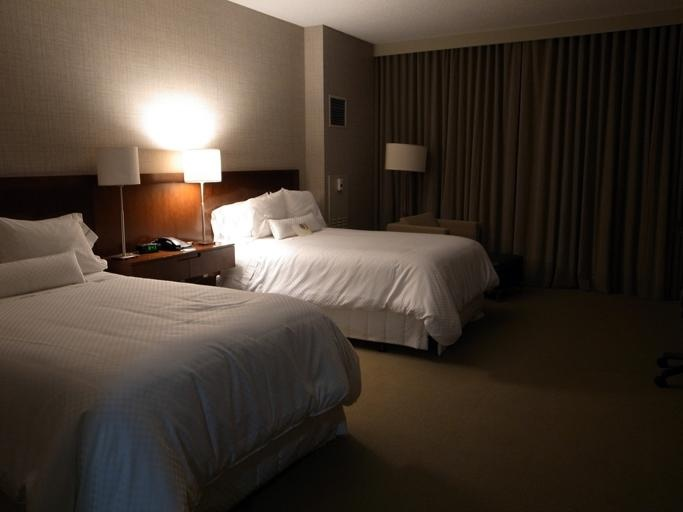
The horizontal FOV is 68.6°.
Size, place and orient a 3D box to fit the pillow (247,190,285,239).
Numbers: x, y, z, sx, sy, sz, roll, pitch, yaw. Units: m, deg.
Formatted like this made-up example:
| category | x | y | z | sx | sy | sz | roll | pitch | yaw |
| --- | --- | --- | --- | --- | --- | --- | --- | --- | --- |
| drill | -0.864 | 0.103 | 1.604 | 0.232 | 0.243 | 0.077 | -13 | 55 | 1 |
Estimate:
| category | x | y | z | sx | sy | sz | roll | pitch | yaw |
| --- | --- | --- | --- | --- | --- | --- | --- | --- | --- |
| pillow | -0.815 | -0.433 | 5.379 | 0.126 | 0.322 | 0.471 | -11 | 10 | 30 |

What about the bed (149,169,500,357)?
| category | x | y | z | sx | sy | sz | roll | pitch | yaw |
| --- | --- | --- | --- | --- | --- | --- | --- | --- | --- |
| bed | 0.111 | 0.039 | 4.883 | 2.066 | 1.107 | 1.582 | 3 | 9 | 25 |

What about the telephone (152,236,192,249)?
| category | x | y | z | sx | sy | sz | roll | pitch | yaw |
| --- | --- | --- | --- | --- | --- | --- | --- | --- | --- |
| telephone | -1.522 | -0.115 | 4.507 | 0.205 | 0.075 | 0.155 | 5 | 8 | 20 |
